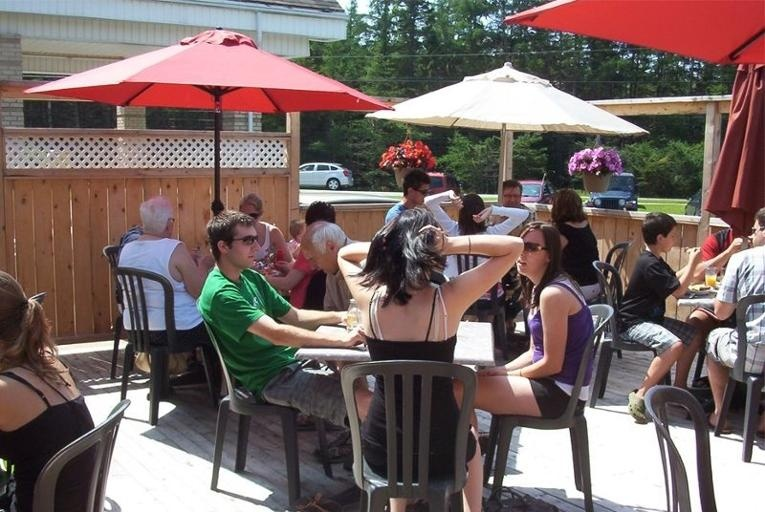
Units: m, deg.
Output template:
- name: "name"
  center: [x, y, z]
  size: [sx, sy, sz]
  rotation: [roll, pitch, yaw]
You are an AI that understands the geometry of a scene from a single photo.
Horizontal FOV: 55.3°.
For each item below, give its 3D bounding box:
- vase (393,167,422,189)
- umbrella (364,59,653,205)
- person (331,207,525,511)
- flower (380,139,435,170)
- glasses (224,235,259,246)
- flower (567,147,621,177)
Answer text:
- name: "vase"
  center: [0.250, -0.946, 8.571]
  size: [0.248, 0.212, 0.282]
  rotation: [0, 0, 1]
- name: "umbrella"
  center: [1.411, -1.636, 8.060]
  size: [2.112, 1.121, 2.269]
  rotation: [0, 8, -15]
- name: "person"
  center: [0.269, 0.730, 4.499]
  size: [1.024, 2.029, 0.682]
  rotation: [1, 11, -4]
- name: "flower"
  center: [0.305, -1.174, 8.647]
  size: [0.472, 0.241, 0.466]
  rotation: [-1, 12, 16]
- name: "glasses"
  center: [-0.968, -0.109, 5.047]
  size: [0.209, 0.072, 0.080]
  rotation: [-6, 13, -33]
- name: "flower"
  center: [2.857, -1.239, 9.859]
  size: [0.440, 0.325, 0.492]
  rotation: [-5, 8, 3]
